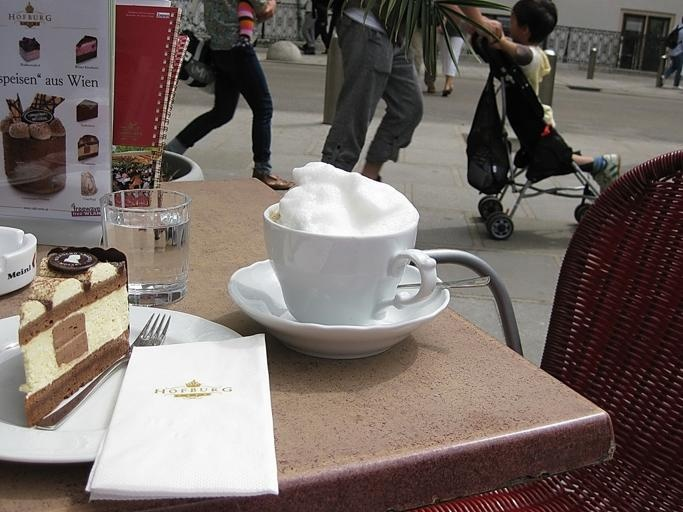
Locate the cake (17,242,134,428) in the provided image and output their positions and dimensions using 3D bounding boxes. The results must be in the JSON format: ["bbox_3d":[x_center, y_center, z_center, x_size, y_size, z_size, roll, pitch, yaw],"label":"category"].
[{"bbox_3d":[-0.257,0.084,0.613,0.106,0.146,0.204,1,20,3],"label":"cake"}]

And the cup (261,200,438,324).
[{"bbox_3d":[0.009,-0.021,0.684,0.198,0.113,0.153,16,18,41],"label":"cup"}]

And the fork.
[{"bbox_3d":[-0.274,0.119,0.663,0.032,0.035,0.237,-4,24,19],"label":"fork"}]
